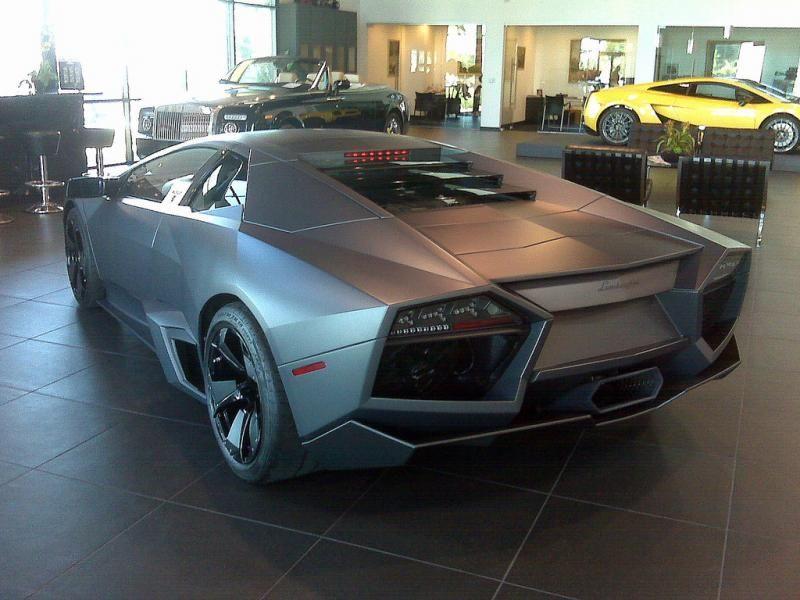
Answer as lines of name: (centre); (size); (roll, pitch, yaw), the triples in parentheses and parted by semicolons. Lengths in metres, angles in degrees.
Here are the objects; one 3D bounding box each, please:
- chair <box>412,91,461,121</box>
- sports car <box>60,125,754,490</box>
chair: (1.494, -7.617, 21.145); (1.520, 0.994, 1.462); (-4, 25, -8)
sports car: (-0.505, -0.185, 2.744); (1.750, 0.776, 2.931); (-8, 20, -35)
